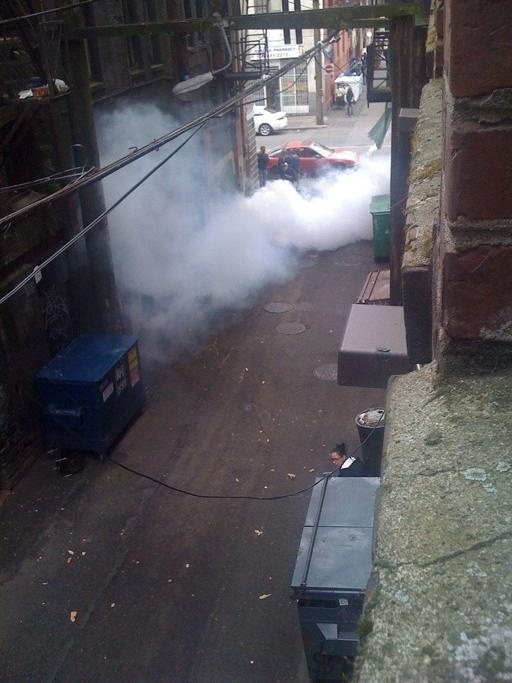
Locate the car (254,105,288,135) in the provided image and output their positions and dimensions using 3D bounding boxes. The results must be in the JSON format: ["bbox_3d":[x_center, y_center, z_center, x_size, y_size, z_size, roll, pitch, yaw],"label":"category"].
[{"bbox_3d":[0.817,-13.227,35.099,1.760,1.486,1.419,-6,22,1],"label":"car"}]

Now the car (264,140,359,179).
[{"bbox_3d":[2.279,-7.292,23.539,3.507,1.190,1.797,-2,46,5],"label":"car"}]
